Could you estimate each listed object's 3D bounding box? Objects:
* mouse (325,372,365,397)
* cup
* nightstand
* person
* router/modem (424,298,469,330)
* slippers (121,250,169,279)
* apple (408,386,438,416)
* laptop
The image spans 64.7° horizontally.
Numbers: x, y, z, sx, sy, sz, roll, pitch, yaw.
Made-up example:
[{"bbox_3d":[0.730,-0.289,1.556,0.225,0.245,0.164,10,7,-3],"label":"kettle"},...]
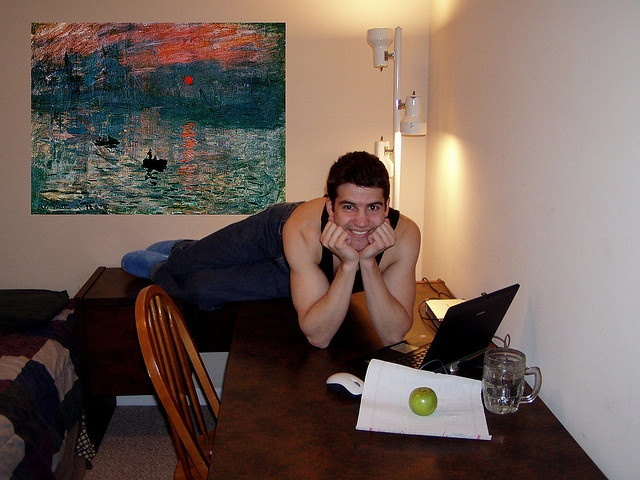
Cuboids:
[{"bbox_3d":[0.079,0.400,1.412,0.087,0.030,0.053,1,4,37],"label":"mouse"},{"bbox_3d":[0.526,0.396,1.375,0.143,0.146,0.092,2,4,22],"label":"cup"},{"bbox_3d":[-0.935,0.450,2.662,0.579,0.864,0.587,0,17,-3],"label":"nightstand"},{"bbox_3d":[-0.360,-0.039,2.398,1.691,0.786,0.540,11,15,42],"label":"person"},{"bbox_3d":[0.507,0.272,2.033,0.171,0.042,0.173,-5,13,-16],"label":"router/modem"},{"bbox_3d":[-0.921,0.119,2.611,0.163,0.074,0.169,5,5,17],"label":"slippers"},{"bbox_3d":[0.270,0.421,1.313,0.064,0.064,0.065,0,-3,8],"label":"apple"},{"bbox_3d":[0.393,0.272,1.581,0.369,0.272,0.318,-12,21,-40],"label":"laptop"}]
